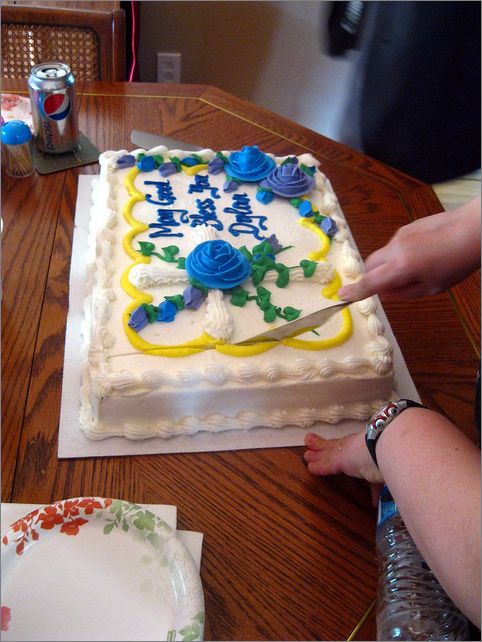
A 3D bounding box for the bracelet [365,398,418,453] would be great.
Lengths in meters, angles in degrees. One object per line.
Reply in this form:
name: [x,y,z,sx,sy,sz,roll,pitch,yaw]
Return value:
bracelet: [0.211,0.135,0.708,0.066,0.076,0.031,-9,40,-24]
